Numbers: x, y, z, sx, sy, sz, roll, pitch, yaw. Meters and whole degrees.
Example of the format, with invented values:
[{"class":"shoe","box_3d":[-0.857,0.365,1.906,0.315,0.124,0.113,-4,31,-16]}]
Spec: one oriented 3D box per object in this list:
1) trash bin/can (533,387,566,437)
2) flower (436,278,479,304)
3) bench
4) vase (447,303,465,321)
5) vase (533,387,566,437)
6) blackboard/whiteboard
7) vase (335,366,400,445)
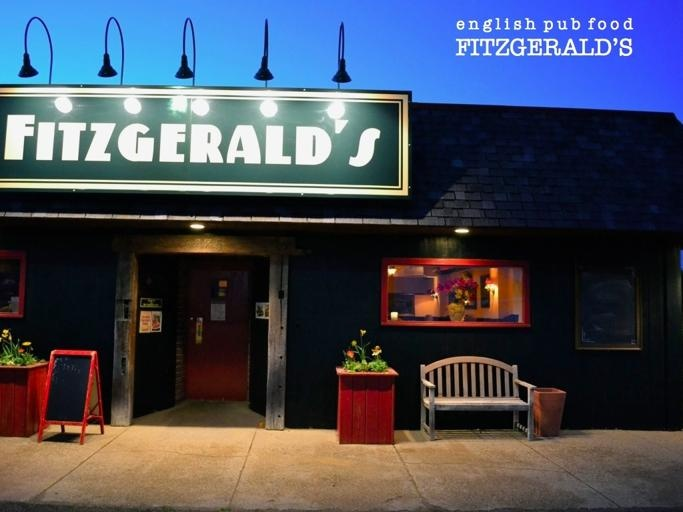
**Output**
[{"class":"trash bin/can","box_3d":[3.472,2.549,10.747,0.613,0.910,0.745,0,-4,0]},{"class":"flower","box_3d":[2.018,0.592,11.178,0.464,0.347,0.461,4,3,26]},{"class":"bench","box_3d":[2.176,2.297,10.639,1.653,1.200,0.875,1,-5,-3]},{"class":"vase","box_3d":[1.946,0.985,11.173,0.266,0.328,0.275,15,-19,-37]},{"class":"vase","box_3d":[3.432,2.545,10.950,0.614,0.907,0.746,0,-4,-1]},{"class":"blackboard/whiteboard","box_3d":[-4.217,2.008,10.260,0.535,1.167,0.813,0,-7,4]},{"class":"vase","box_3d":[0.402,2.370,10.833,0.962,1.214,1.170,1,-3,-4]}]
